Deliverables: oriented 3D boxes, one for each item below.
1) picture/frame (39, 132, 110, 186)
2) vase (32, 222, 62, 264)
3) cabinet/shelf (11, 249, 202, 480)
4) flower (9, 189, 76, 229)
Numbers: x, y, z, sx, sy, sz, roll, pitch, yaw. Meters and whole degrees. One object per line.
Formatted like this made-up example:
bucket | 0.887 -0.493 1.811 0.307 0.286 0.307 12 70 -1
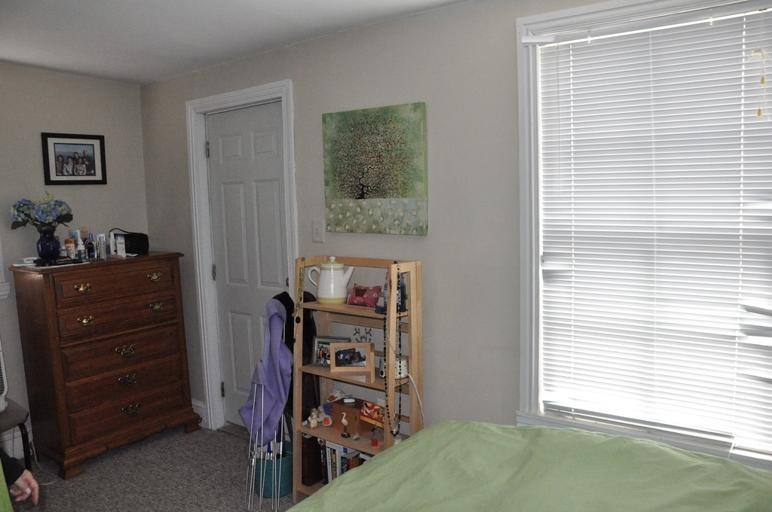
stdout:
picture/frame | -2.584 -0.787 4.650 0.036 0.394 0.487 6 10 43
vase | -2.543 -0.084 4.256 0.154 0.286 0.243 -7 10 -31
cabinet/shelf | -2.273 0.773 4.611 1.221 1.481 0.886 -8 6 -44
flower | -2.655 -0.379 4.350 0.337 0.201 0.333 -4 13 -31
